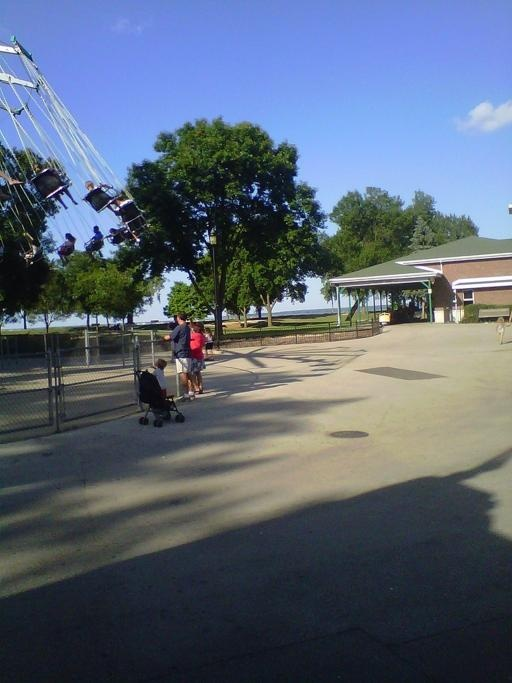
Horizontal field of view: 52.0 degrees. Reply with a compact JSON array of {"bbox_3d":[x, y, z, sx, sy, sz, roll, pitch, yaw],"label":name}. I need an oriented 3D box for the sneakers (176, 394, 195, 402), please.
[{"bbox_3d":[-1.766,1.352,12.685,0.537,0.227,0.197,2,-5,-10],"label":"sneakers"}]
